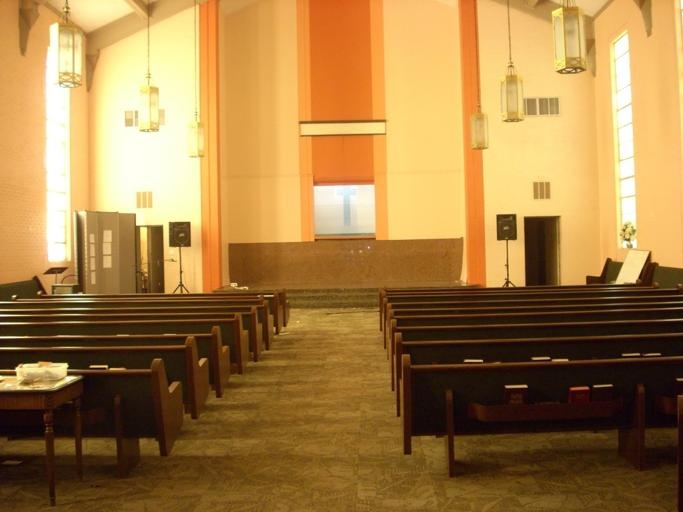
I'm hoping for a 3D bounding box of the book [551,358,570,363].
[{"bbox_3d":[2.205,1.048,6.299,0.137,0.037,0.138,0,0,6],"label":"book"}]

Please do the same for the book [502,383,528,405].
[{"bbox_3d":[1.668,1.323,5.989,0.239,0.195,0.149,0,-2,4],"label":"book"}]

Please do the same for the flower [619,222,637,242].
[{"bbox_3d":[6.534,-0.528,14.272,0.303,0.373,0.348,1,-1,2],"label":"flower"}]

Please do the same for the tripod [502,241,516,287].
[{"bbox_3d":[4.277,0.186,16.016,0.297,1.185,0.568,3,9,22],"label":"tripod"}]

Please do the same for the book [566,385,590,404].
[{"bbox_3d":[2.277,1.323,6.006,0.152,0.157,0.054,-1,-1,3],"label":"book"}]

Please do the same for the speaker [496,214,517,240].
[{"bbox_3d":[4.086,-0.713,15.472,0.519,0.599,0.378,1,9,19],"label":"speaker"}]

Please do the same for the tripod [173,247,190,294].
[{"bbox_3d":[-4.130,0.401,16.147,0.385,1.258,0.948,-3,9,-15],"label":"tripod"}]

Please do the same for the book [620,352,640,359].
[{"bbox_3d":[3.030,1.037,6.554,0.213,0.061,0.038,-4,5,-15],"label":"book"}]

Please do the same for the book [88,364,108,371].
[{"bbox_3d":[-2.484,1.146,6.444,0.119,0.032,0.127,0,-6,-3],"label":"book"}]
